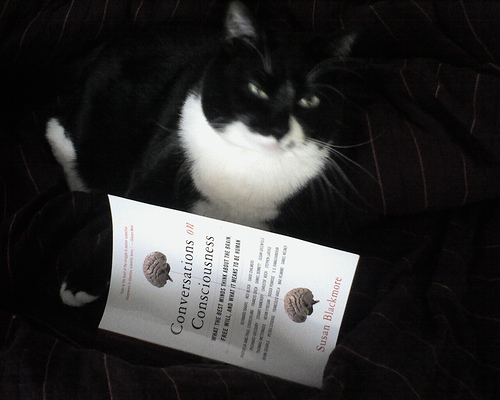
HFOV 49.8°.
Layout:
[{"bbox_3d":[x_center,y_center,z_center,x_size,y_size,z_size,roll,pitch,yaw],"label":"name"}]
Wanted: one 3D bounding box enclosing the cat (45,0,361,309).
[{"bbox_3d":[-0.168,-0.218,1.676,0.602,0.642,0.968,3,44,-17],"label":"cat"}]
